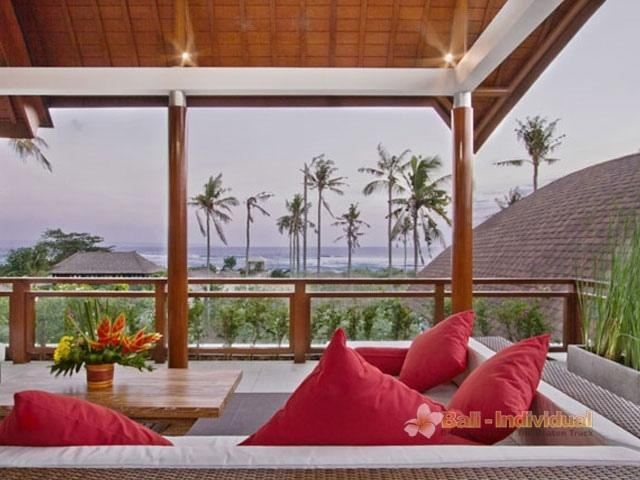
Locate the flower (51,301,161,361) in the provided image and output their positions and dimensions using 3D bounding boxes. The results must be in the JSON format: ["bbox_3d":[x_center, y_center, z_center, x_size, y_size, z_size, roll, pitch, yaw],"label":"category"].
[{"bbox_3d":[-1.576,0.761,3.709,0.654,0.401,0.576,1,-27,-3],"label":"flower"}]

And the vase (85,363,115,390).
[{"bbox_3d":[-1.592,0.991,3.641,0.163,0.147,0.185,1,-13,-4],"label":"vase"}]
